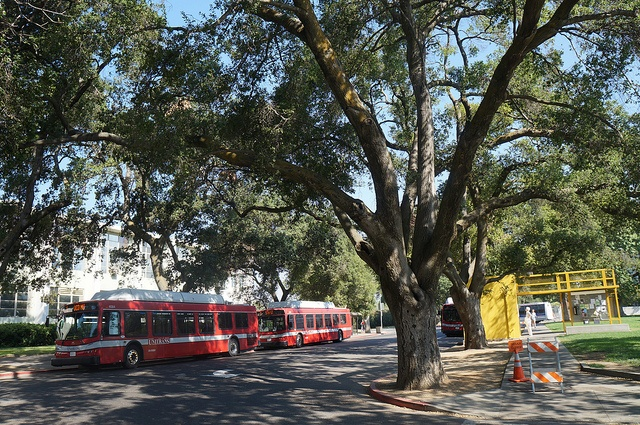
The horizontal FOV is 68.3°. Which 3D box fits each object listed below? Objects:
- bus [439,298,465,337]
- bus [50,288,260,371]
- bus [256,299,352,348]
[{"bbox_3d":[13.204,10.561,47.724,1.828,4.003,2.597,-5,-13,14],"label":"bus"},{"bbox_3d":[-9.742,7.351,30.054,2.740,4.442,13.260,-12,-18,38],"label":"bus"},{"bbox_3d":[-1.194,10.223,43.170,2.873,3.865,9.806,-12,-18,38],"label":"bus"}]
